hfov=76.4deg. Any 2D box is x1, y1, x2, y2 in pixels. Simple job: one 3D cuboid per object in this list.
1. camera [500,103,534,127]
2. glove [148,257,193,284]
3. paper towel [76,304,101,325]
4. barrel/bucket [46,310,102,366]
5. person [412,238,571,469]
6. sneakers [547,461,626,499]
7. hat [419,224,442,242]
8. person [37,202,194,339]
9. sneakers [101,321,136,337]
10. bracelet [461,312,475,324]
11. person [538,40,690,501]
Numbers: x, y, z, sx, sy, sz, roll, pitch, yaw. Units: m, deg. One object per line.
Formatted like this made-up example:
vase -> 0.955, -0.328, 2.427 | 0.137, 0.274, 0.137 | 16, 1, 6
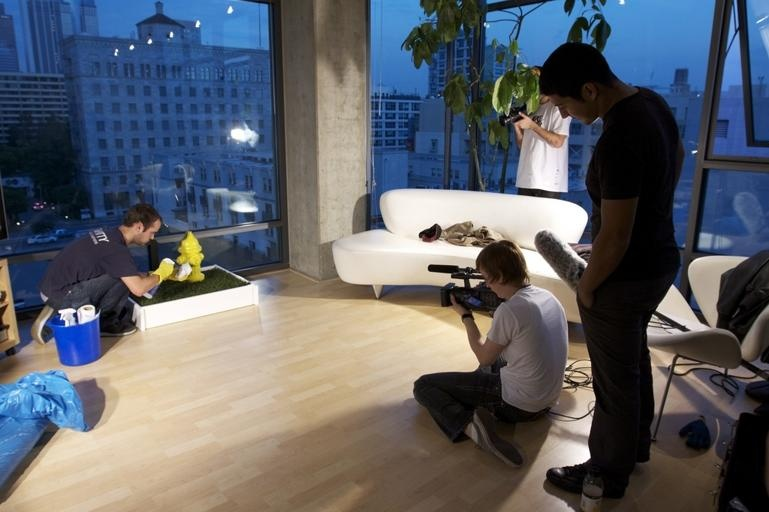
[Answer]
camera -> 1.216, -1.303, 4.552 | 0.307, 0.146, 0.130 | -25, 23, -19
glove -> -1.936, 0.129, 4.456 | 0.221, 0.132, 0.297 | 7, 7, 35
paper towel -> -2.249, 0.437, 3.729 | 0.147, 0.151, 0.143 | 7, 29, -12
barrel/bucket -> -2.303, 0.624, 3.838 | 0.386, 0.403, 0.378 | 2, 19, -1
person -> 0.680, 0.545, 3.143 | 0.861, 1.244, 1.191 | 4, 11, 17
sneakers -> 1.061, 1.210, 2.693 | 0.372, 0.142, 0.139 | 26, -15, -17
hat -> 0.469, -0.223, 4.818 | 0.216, 0.132, 0.085 | -20, -27, 32
person -> -2.375, 0.111, 4.238 | 1.028, 1.009, 0.766 | -3, 15, -29
sneakers -> -2.287, 0.618, 4.190 | 0.299, 0.120, 0.118 | -4, 17, -14
bracelet -> 0.514, 0.376, 2.988 | 0.071, 0.044, 0.071 | 7, -12, -14
person -> 1.096, 0.144, 2.432 | 0.676, 2.279, 0.404 | 2, 16, 16
